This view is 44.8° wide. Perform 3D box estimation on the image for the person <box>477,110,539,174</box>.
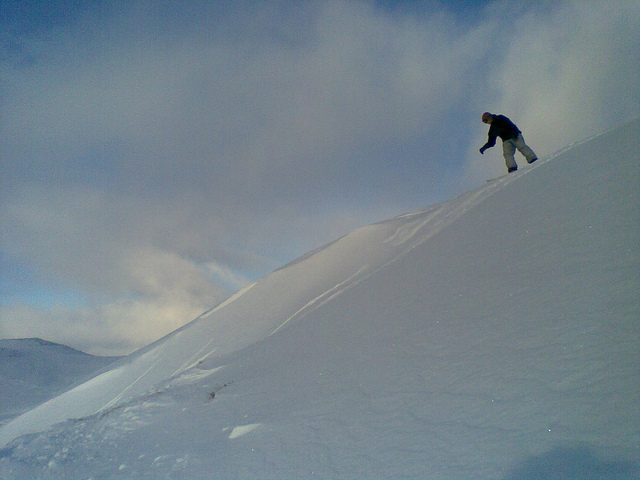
[{"bbox_3d":[3.246,-1.712,13.967,0.647,1.336,0.792,-11,-10,-5],"label":"person"}]
